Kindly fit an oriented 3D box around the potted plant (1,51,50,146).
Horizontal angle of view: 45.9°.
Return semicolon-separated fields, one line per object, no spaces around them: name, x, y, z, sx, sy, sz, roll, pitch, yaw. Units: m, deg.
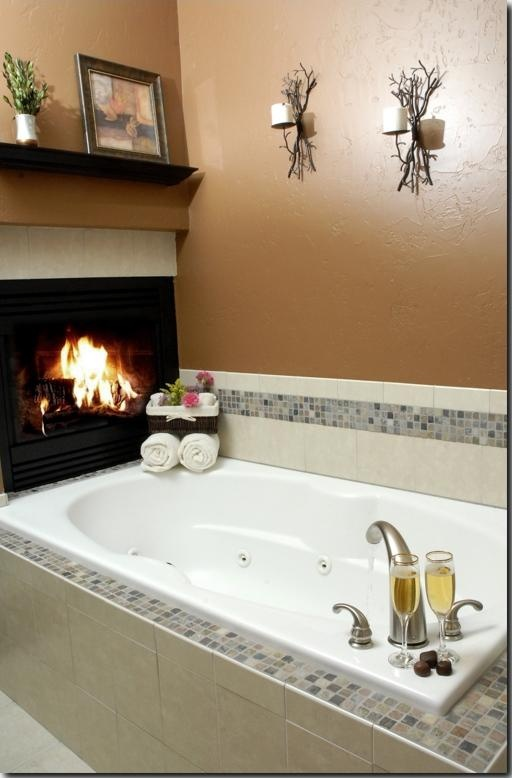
potted plant;-0.918;-1.182;2.476;0.211;0.406;0.189;-8;7;-32

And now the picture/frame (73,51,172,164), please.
picture/frame;-0.638;-1.303;2.809;0.047;0.609;0.589;-2;4;41

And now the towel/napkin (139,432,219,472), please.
towel/napkin;-0.359;0.296;2.904;0.212;0.114;0.243;0;5;5

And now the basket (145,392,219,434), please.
basket;-0.347;0.141;3.033;0.259;0.127;0.221;5;13;16

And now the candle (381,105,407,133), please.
candle;0.495;-0.948;2.150;0.087;0.080;0.124;-3;7;12

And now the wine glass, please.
wine glass;0.319;0.428;1.175;0.126;0.225;0.185;-2;7;18

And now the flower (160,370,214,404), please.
flower;-0.342;0.015;3.099;0.197;0.151;0.200;-14;32;-39

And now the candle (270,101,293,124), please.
candle;0.103;-1.145;2.518;0.101;0.090;0.099;-3;7;15
